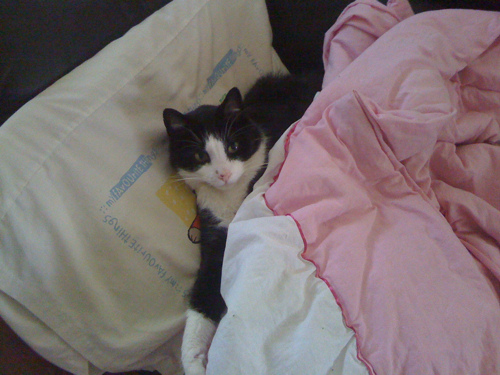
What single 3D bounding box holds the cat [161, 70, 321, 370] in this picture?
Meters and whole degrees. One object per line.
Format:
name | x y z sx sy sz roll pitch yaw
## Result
cat | -0.070 -0.058 1.791 0.316 0.501 1.164 7 101 24
